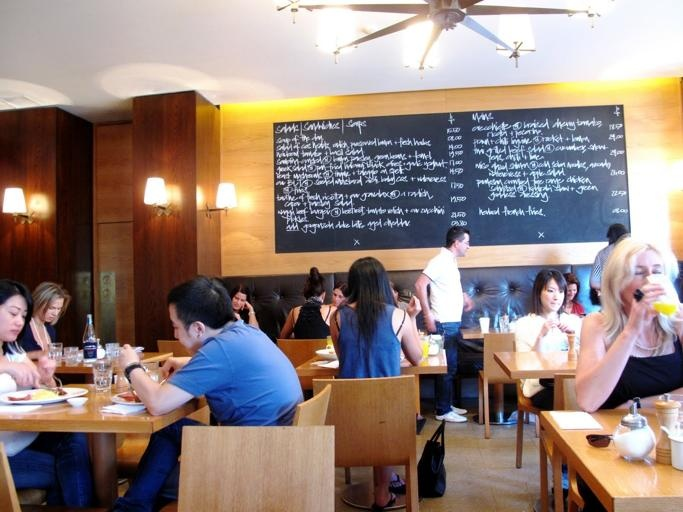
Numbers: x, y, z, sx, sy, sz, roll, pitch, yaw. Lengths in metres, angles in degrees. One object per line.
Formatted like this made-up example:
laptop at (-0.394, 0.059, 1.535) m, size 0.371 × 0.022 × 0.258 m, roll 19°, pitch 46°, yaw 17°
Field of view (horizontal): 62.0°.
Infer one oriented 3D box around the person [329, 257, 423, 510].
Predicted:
person at (0.225, 0.698, 3.033) m, size 0.512 × 1.389 × 0.496 m, roll -1°, pitch 2°, yaw -17°

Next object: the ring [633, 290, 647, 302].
ring at (1.150, 0.152, 2.190) m, size 0.036 × 0.037 × 0.102 m, roll 5°, pitch 8°, yaw 32°

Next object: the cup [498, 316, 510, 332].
cup at (1.298, 0.547, 4.566) m, size 0.082 × 0.079 × 0.142 m, roll 3°, pitch 27°, yaw 6°

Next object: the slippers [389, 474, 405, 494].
slippers at (0.334, 1.343, 3.354) m, size 0.061 × 0.065 × 0.180 m, roll -1°, pitch 0°, yaw 1°

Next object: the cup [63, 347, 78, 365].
cup at (-1.846, 0.688, 3.897) m, size 0.112 × 0.119 × 0.107 m, roll 1°, pitch -7°, yaw 0°

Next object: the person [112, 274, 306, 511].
person at (-0.611, 0.585, 2.421) m, size 0.771 × 0.989 × 0.485 m, roll 0°, pitch 2°, yaw 23°

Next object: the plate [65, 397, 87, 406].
plate at (-1.131, 0.624, 2.448) m, size 0.054 × 0.020 × 0.054 m, roll 0°, pitch -6°, yaw -1°

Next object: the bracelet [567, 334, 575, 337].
bracelet at (1.311, 0.451, 3.252) m, size 0.035 × 0.012 × 0.035 m, roll 0°, pitch 0°, yaw -2°
